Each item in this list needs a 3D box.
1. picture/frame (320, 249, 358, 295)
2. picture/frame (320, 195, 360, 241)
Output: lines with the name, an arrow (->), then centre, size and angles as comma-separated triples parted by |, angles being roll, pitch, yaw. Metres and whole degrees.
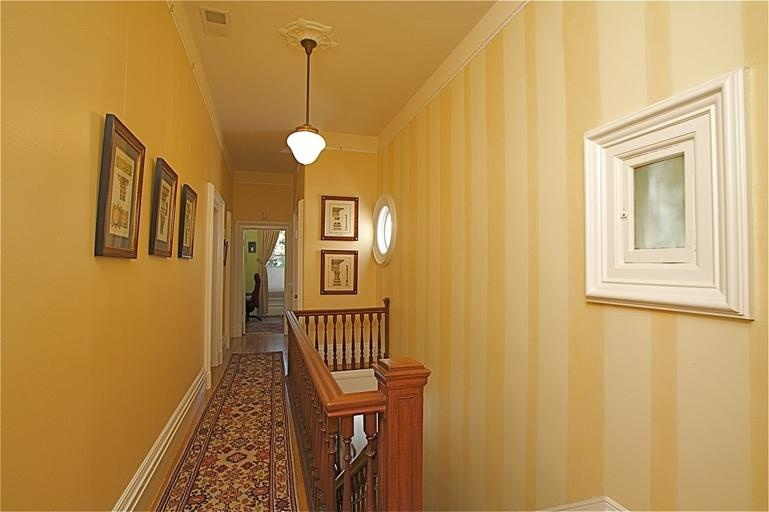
picture/frame -> -0.615, 0.226, 6.746 | 0.572, 0.679, 0.074 | 1, -2, -17
picture/frame -> -0.607, -0.491, 6.781 | 0.595, 0.699, 0.056 | 0, -1, -19
